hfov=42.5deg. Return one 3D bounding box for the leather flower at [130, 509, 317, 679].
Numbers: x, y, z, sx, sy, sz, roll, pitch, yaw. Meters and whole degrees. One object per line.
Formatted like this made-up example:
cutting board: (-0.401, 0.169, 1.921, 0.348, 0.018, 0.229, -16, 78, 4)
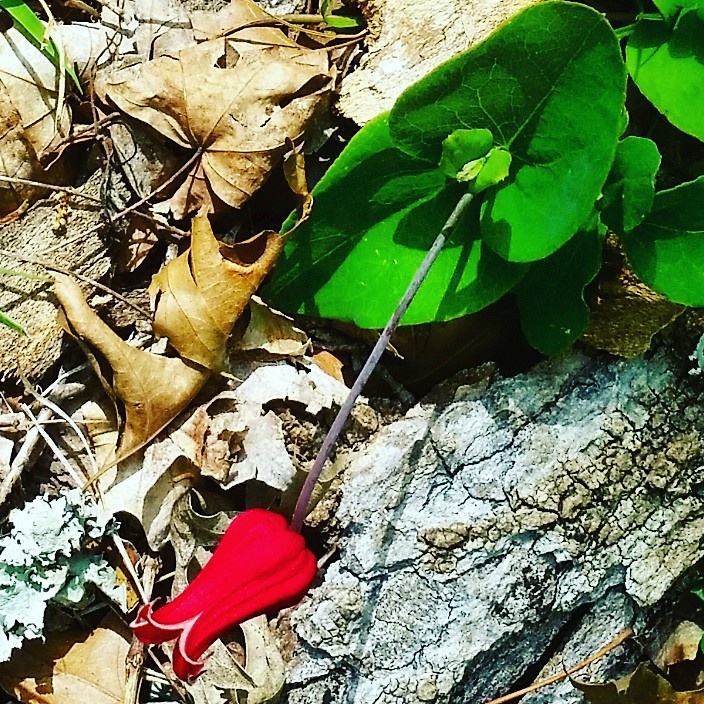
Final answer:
leather flower: (-0.188, 0.363, 1.363, 0.296, 0.086, 0.175, -34, 49, -28)
